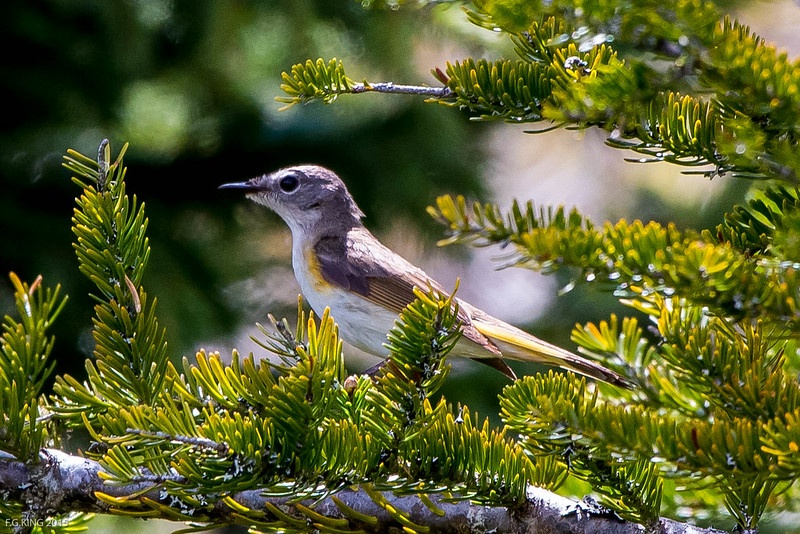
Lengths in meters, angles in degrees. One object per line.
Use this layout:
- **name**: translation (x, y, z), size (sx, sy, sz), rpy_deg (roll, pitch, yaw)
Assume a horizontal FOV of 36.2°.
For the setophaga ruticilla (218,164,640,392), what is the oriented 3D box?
- **setophaga ruticilla**: translation (0.161, 0.105, 7.478), size (2.423, 1.462, 0.719), rpy_deg (3, -6, 2)
